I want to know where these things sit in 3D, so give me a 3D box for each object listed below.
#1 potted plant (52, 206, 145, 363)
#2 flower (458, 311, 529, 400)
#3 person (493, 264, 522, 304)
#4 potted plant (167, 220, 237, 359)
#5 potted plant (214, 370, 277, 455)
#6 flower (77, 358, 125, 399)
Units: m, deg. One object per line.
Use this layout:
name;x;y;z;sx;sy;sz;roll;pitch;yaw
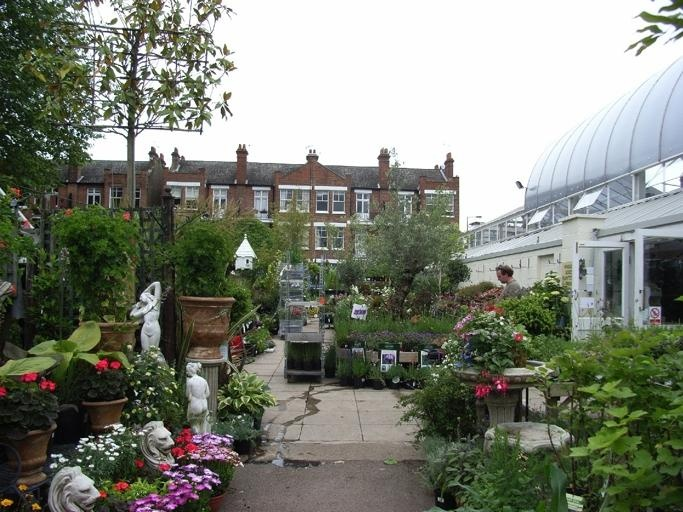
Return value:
potted plant;-2.627;0.238;6.702;0.830;1.526;0.963;-3;4;-22
flower;1.483;0.971;6.254;0.771;1.046;0.729;0;-4;-5
person;3.113;0.555;11.406;0.386;0.827;0.782;-4;8;10
potted plant;-1.626;0.389;7.251;0.651;1.612;0.900;-2;4;-17
potted plant;-1.147;1.844;7.369;0.600;0.631;0.771;5;1;-1
flower;-2.307;1.178;5.978;0.359;0.377;0.418;-1;5;3
